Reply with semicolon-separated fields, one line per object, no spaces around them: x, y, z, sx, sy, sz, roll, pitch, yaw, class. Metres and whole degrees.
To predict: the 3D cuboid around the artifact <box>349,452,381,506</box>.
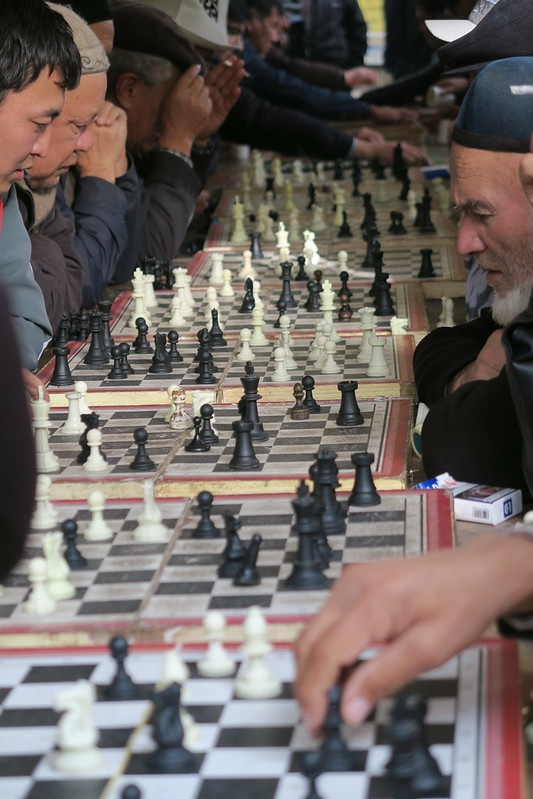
0.239;0.196;1.742;0.087;0.126;0.084;-4;6;-17;artifact

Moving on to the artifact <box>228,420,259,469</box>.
-0.065;0.130;2.031;0.107;0.135;0.101;-5;5;-32;artifact

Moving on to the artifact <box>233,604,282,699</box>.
-0.015;0.365;1.039;0.072;0.119;0.069;-1;-4;1;artifact

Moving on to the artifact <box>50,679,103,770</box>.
-0.230;0.388;0.841;0.058;0.089;0.075;-8;9;-18;artifact

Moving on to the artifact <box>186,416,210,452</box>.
-0.207;0.111;2.216;0.099;0.120;0.095;1;0;-26;artifact

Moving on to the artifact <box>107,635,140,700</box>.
-0.211;0.396;1.046;0.053;0.086;0.053;-3;-20;-5;artifact

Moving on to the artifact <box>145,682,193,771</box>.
-0.118;0.390;0.853;0.057;0.074;0.090;-7;9;-10;artifact

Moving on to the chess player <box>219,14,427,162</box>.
0.446;-2.890;7.285;2.006;0.559;1.437;11;35;-5;chess player

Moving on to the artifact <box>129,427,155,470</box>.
-0.368;0.131;2.081;0.070;0.118;0.217;-7;8;-9;artifact

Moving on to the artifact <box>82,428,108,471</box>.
-0.504;0.136;2.068;0.069;0.116;0.166;-7;9;-13;artifact
